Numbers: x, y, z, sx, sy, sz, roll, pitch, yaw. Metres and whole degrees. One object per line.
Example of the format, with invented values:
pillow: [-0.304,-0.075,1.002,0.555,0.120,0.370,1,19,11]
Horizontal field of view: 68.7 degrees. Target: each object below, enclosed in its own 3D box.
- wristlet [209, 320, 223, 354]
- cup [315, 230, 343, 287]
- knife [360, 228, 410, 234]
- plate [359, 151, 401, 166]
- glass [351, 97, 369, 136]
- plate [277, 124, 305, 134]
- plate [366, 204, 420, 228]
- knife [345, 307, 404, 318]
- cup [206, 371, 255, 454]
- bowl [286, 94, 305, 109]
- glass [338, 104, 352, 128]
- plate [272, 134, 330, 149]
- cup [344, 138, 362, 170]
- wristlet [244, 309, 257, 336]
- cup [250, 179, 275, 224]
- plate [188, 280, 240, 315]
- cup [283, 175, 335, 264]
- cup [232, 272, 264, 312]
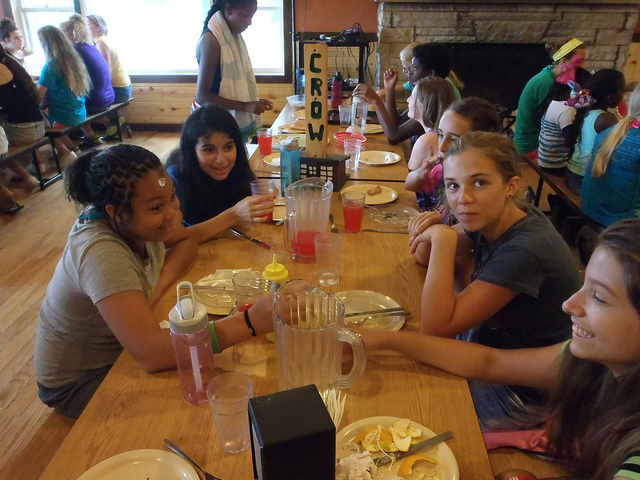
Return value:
wristlet: [-0.316,0.303,1.418,0.028,0.113,0.041,-9,30,-15]
cup: [0.021,0.067,1.781,0.133,0.220,0.133,3,0,0]
knife: [0.292,-0.039,2.140,0.231,0.010,0.028,2,-6,-15]
plate: [0.386,-0.528,3.032,0.268,0.027,0.258,1,30,2]
glass: [0.291,-0.923,3.518,0.109,0.236,0.236,2,29,6]
plate: [-0.238,-0.832,3.521,0.159,0.018,0.308,-11,31,-17]
plate: [0.345,-0.132,2.292,0.241,0.017,0.259,17,34,28]
knife: [0.185,0.249,1.588,0.240,0.022,0.030,-5,65,-5]
cup: [-0.227,0.440,1.228,0.120,0.137,0.180,-11,31,-17]
bowl: [-0.208,-1.267,4.348,0.219,0.110,0.265,3,29,4]
glass: [0.203,-0.995,3.724,0.146,0.181,0.157,6,33,7]
plate: [-0.121,-0.686,3.279,0.310,0.045,0.314,14,23,38]
cup: [0.204,-0.564,2.939,0.105,0.174,0.299,1,30,4]
wristlet: [-0.218,0.258,1.433,0.019,0.075,0.041,-23,35,-35]
cup: [-0.267,-0.168,2.162,0.119,0.190,0.121,1,31,0]
plate: [-0.384,0.216,1.649,0.172,0.022,0.116,6,30,11]
cup: [-0.044,-0.096,1.982,0.206,0.354,0.335,8,27,13]
cup: [-0.234,0.165,1.589,0.085,0.148,0.140,5,21,10]
